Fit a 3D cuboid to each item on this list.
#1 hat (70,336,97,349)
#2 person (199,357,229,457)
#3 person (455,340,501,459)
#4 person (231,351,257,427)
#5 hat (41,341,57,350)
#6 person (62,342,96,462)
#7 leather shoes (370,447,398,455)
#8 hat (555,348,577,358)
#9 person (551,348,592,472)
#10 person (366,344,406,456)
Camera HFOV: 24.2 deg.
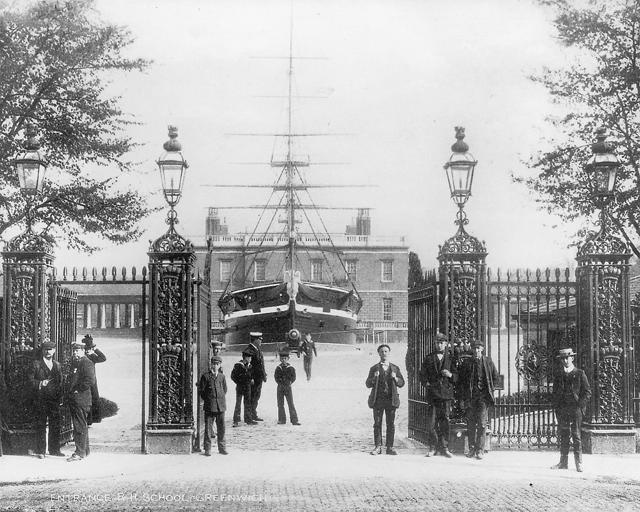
[{"bbox_3d":[-4.729,1.753,30.003,0.268,0.293,0.449,1,-10,-1],"label":"hat"},{"bbox_3d":[-2.019,2.897,28.672,0.524,1.916,0.666,-1,-6,-4],"label":"person"},{"bbox_3d":[3.040,2.762,28.472,0.792,2.254,0.476,-6,-8,41],"label":"person"},{"bbox_3d":[-1.659,2.907,32.673,0.480,1.688,0.889,-1,-6,-2],"label":"person"},{"bbox_3d":[-5.074,1.695,28.170,0.286,0.164,0.217,2,-7,-27],"label":"hat"},{"bbox_3d":[-4.472,2.770,28.167,0.473,2.223,0.612,0,-6,-8],"label":"person"},{"bbox_3d":[1.230,3.781,28.498,0.487,0.231,0.194,5,-17,0],"label":"leather shoes"},{"bbox_3d":[4.561,1.818,27.672,0.295,0.101,0.307,-17,3,17],"label":"hat"},{"bbox_3d":[4.658,2.865,27.614,0.711,2.308,0.438,-3,-6,15],"label":"person"},{"bbox_3d":[1.249,2.750,28.367,0.673,2.106,0.679,-1,-6,3],"label":"person"}]
